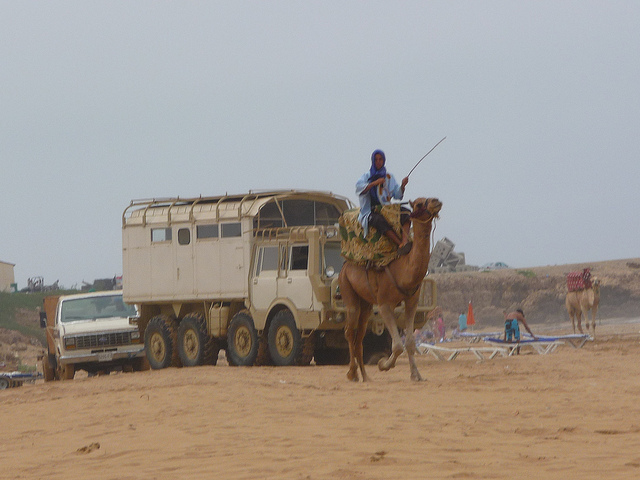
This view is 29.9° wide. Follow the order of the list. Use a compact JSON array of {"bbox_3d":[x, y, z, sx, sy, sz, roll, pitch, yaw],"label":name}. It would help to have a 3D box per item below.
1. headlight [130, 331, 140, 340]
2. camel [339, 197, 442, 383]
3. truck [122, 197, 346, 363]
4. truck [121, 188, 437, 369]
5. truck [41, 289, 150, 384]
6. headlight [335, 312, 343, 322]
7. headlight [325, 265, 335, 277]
[{"bbox_3d":[-5.243,2.660,34.010,0.171,0.229,0.146,0,-6,-10],"label":"headlight"},{"bbox_3d":[1.452,1.074,25.268,0.877,2.691,2.829,-4,2,-36],"label":"camel"},{"bbox_3d":[-2.369,1.059,33.182,5.910,5.030,4.031,-3,-2,16],"label":"truck"},{"bbox_3d":[-2.050,0.889,33.371,6.661,4.815,3.780,-2,2,27],"label":"truck"},{"bbox_3d":[-6.823,2.845,35.197,2.116,2.521,3.990,0,-6,-20],"label":"truck"},{"bbox_3d":[0.487,1.851,29.473,0.163,0.217,0.044,-1,-4,-23],"label":"headlight"},{"bbox_3d":[0.264,0.716,29.629,0.180,0.261,0.221,1,3,0],"label":"headlight"}]
